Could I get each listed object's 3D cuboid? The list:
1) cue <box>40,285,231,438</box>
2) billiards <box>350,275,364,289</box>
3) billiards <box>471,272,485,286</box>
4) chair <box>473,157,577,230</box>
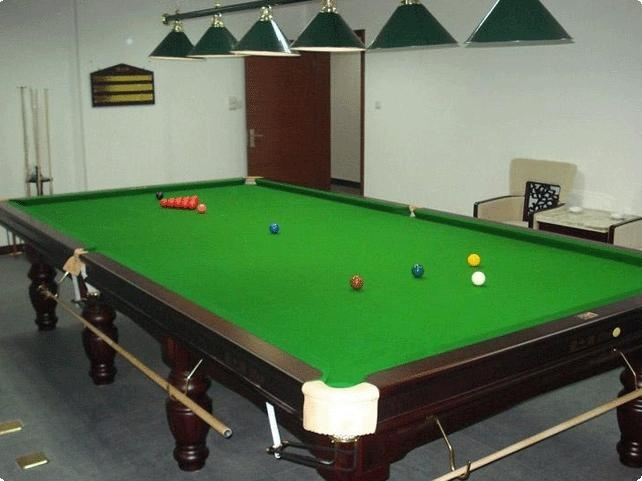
[{"bbox_3d":[-0.939,0.641,2.813,0.193,0.174,2.399,24,-1,-40],"label":"cue"},{"bbox_3d":[0.159,0.171,2.366,0.076,0.053,0.056,-6,19,-21],"label":"billiards"},{"bbox_3d":[0.671,0.162,2.387,0.056,0.053,0.055,-13,23,-31],"label":"billiards"},{"bbox_3d":[1.799,-0.476,5.142,0.810,0.876,0.819,14,19,36],"label":"chair"}]
